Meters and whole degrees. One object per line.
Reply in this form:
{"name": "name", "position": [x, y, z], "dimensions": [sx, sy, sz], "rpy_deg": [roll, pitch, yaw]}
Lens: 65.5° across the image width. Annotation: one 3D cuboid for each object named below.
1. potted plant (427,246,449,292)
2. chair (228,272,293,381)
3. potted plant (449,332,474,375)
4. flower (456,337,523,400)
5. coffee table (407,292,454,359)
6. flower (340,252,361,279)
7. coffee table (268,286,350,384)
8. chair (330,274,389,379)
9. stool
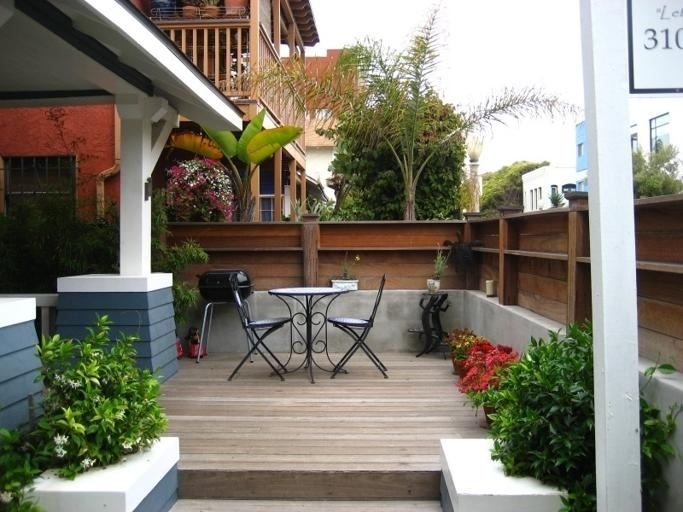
{"name": "potted plant", "position": [1.247, 0.179, 6.892], "dimensions": [0.254, 0.546, 0.605], "rpy_deg": [0, 3, 11]}
{"name": "chair", "position": [-0.916, 0.757, 5.803], "dimensions": [0.717, 1.091, 0.765], "rpy_deg": [-1, 0, 29]}
{"name": "potted plant", "position": [1.247, 1.024, 5.694], "dimensions": [0.359, 0.471, 0.359], "rpy_deg": [0, -5, -2]}
{"name": "flower", "position": [1.241, 0.823, 4.425], "dimensions": [0.537, 0.590, 0.581], "rpy_deg": [1, -5, -2]}
{"name": "coffee table", "position": [1.134, 0.843, 6.650], "dimensions": [0.742, 0.810, 0.482], "rpy_deg": [0, -1, 16]}
{"name": "flower", "position": [0.123, 0.145, 7.195], "dimensions": [0.281, 0.424, 0.344], "rpy_deg": [-1, -3, 25]}
{"name": "coffee table", "position": [-0.387, 0.887, 6.394], "dimensions": [0.879, 1.069, 0.932], "rpy_deg": [0, -3, -4]}
{"name": "chair", "position": [0.195, 0.745, 6.231], "dimensions": [0.661, 1.072, 1.347], "rpy_deg": [0, 3, 2]}
{"name": "stool", "position": [-1.448, 0.939, 6.784], "dimensions": [0.684, 0.838, 0.836], "rpy_deg": [3, -7, -5]}
